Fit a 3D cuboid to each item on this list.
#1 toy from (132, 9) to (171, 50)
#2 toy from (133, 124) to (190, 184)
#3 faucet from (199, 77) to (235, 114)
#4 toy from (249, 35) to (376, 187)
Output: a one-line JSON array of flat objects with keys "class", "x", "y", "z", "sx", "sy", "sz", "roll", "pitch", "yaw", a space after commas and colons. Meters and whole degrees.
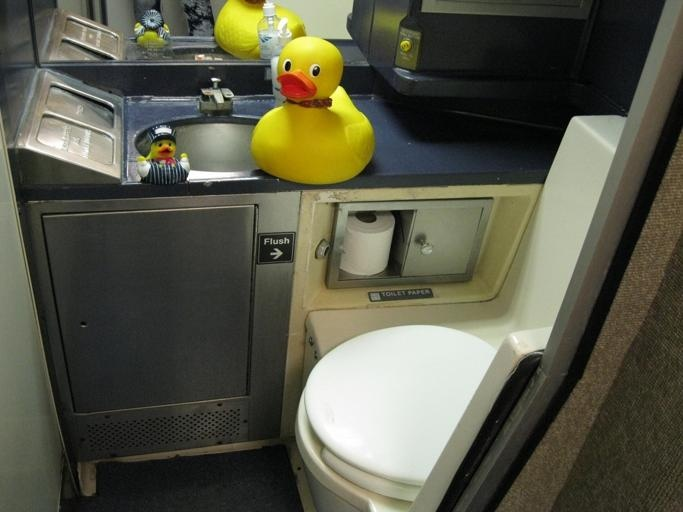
[{"class": "toy", "x": -0.510, "y": -0.610, "z": 1.516, "sx": 0.090, "sy": 0.106, "sz": 0.082, "roll": -1, "pitch": 22, "yaw": -20}, {"class": "toy", "x": -0.414, "y": -0.233, "z": 1.305, "sx": 0.116, "sy": 0.115, "sz": 0.123, "roll": -1, "pitch": 23, "yaw": -21}, {"class": "faucet", "x": -0.352, "y": -0.442, "z": 1.548, "sx": 0.071, "sy": 0.072, "sz": 0.115, "roll": -2, "pitch": 34, "yaw": -12}, {"class": "toy", "x": -0.059, "y": -0.389, "z": 1.410, "sx": 0.284, "sy": 0.318, "sz": 0.397, "roll": 8, "pitch": 30, "yaw": 10}]
